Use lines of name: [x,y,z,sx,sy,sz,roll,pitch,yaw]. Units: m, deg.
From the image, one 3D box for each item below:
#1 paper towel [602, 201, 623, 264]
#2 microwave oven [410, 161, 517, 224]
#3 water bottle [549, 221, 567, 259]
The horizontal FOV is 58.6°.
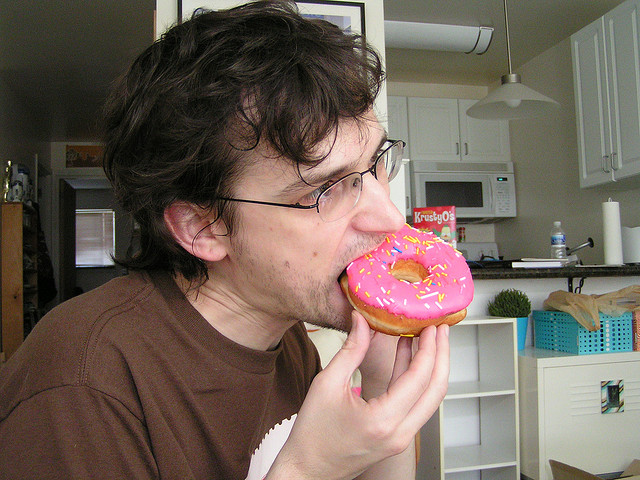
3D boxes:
paper towel: [1.887,-0.050,3.678,0.103,0.441,0.106,1,-9,9]
microwave oven: [1.429,-0.507,5.768,1.175,0.645,0.423,-2,6,-5]
water bottle: [1.584,-0.004,3.780,0.096,0.235,0.374,-2,0,21]
